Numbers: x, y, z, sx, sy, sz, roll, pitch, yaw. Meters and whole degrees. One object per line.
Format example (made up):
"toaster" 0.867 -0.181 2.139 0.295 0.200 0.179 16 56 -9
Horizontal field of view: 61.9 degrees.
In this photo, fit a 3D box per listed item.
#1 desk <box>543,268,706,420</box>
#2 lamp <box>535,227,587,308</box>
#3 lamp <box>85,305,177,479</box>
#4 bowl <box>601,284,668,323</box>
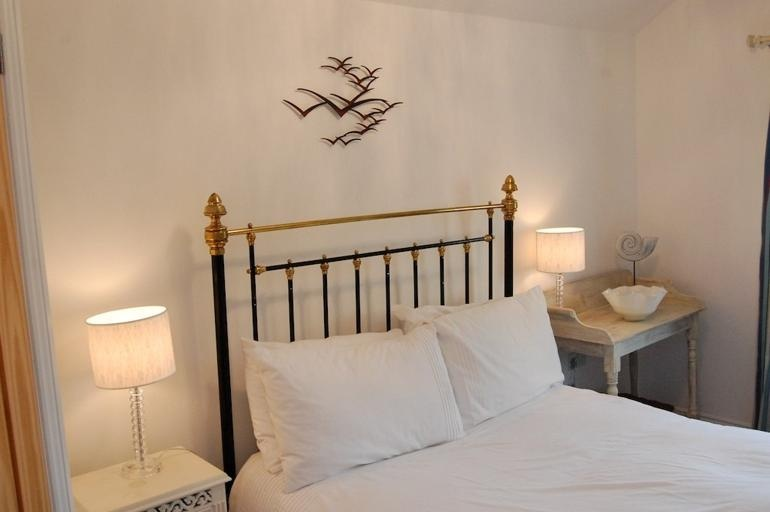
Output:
"desk" 1.530 0.639 4.091 1.183 0.983 0.555 -10 8 -39
"lamp" 1.101 0.103 4.052 0.318 0.561 0.306 -7 13 -19
"lamp" -1.063 0.569 2.727 0.308 0.674 0.307 -7 8 -28
"bowl" 1.571 0.289 3.985 0.357 0.177 0.381 -3 7 0
